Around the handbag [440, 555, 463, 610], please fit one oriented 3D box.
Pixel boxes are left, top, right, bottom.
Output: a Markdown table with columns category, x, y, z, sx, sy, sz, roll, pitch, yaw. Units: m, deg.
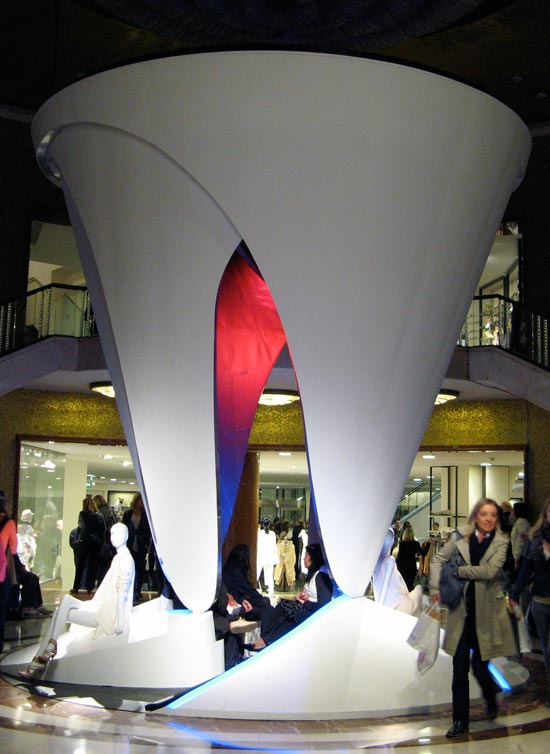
| category | x | y | z | sx | sy | sz | roll | pitch | yaw |
| --- | --- | --- | --- | --- | --- | --- | --- | --- | --- |
| handbag | 1.189 | 1.427 | 3.928 | 0.084 | 0.279 | 0.193 | 5 | -10 | 4 |

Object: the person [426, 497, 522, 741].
| category | x | y | z | sx | sy | sz | roll | pitch | yaw |
| --- | --- | --- | --- | --- | --- | --- | --- | --- | --- |
| person | 1.446 | 1.705 | 4.142 | 0.523 | 1.620 | 0.908 | -3 | -10 | 24 |

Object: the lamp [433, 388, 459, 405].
| category | x | y | z | sx | sy | sz | roll | pitch | yaw |
| --- | --- | --- | --- | --- | --- | --- | --- | --- | --- |
| lamp | 3.661 | 0.399 | 12.211 | 0.580 | 0.153 | 0.594 | 5 | -10 | -30 |
